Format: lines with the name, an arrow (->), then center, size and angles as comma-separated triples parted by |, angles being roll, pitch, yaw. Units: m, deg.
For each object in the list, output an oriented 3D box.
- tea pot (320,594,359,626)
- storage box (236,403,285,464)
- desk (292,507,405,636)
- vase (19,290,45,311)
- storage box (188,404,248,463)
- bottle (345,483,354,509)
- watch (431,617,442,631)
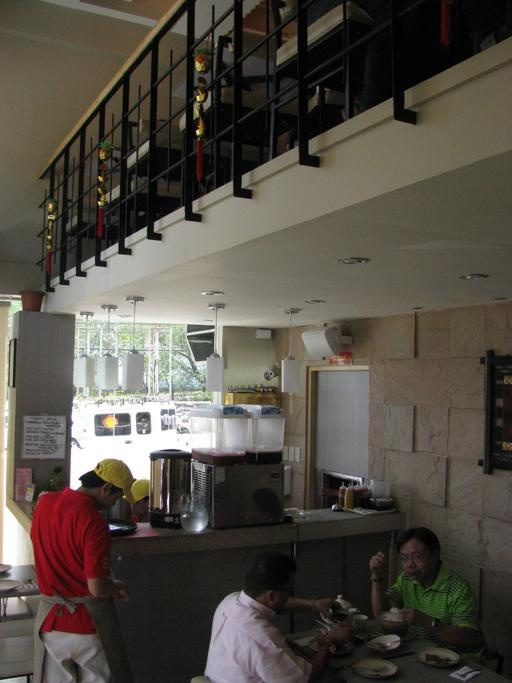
tea pot -> 0.379, 1.230, 2.700 | 0.140, 0.108, 0.149 | 0, 2, 0
storage box -> 0.139, 0.599, 3.672 | 0.222, 0.338, 0.341 | -4, -22, 25
desk -> 0.686, 1.705, 4.030 | 0.848, 0.804, 0.571 | -13, -31, 25
vase -> -1.925, -0.338, 5.070 | 0.177, 0.134, 0.176 | 1, -4, 0
storage box -> -0.222, 0.546, 3.571 | 0.269, 0.318, 0.393 | 5, -9, -35
bottle -> 0.717, 1.215, 4.512 | 0.085, 0.142, 0.086 | -1, -7, 0
watch -> 0.792, 1.242, 2.573 | 0.043, 0.043, 0.046 | -1, -38, 26
